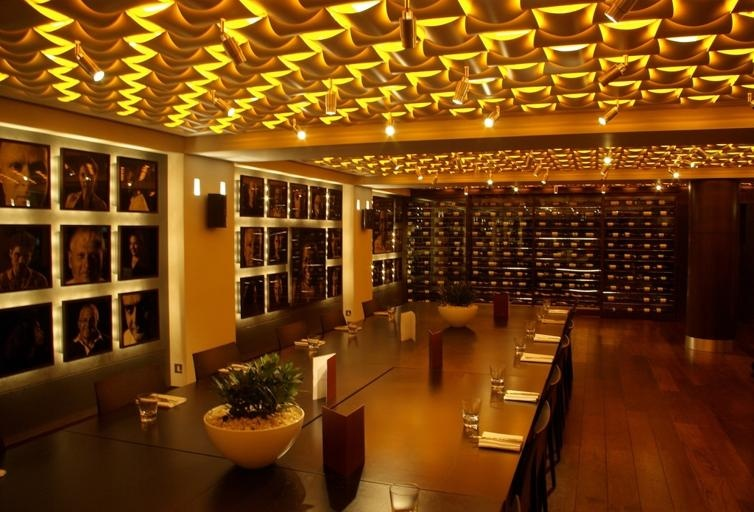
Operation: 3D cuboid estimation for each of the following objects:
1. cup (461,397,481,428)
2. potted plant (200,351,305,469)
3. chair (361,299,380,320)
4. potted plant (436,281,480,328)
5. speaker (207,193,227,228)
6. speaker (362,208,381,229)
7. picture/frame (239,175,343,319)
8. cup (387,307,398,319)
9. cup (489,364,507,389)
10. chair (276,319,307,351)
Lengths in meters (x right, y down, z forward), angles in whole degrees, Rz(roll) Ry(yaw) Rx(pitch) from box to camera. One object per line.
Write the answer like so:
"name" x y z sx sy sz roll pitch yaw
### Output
"cup" 0.700 1.175 3.975 0.185 0.214 0.192 1 -5 0
"potted plant" -0.775 1.029 3.754 0.699 0.780 0.694 0 -6 -5
"chair" -0.108 0.829 7.981 0.225 0.399 0.230 -1 0 -45
"potted plant" 1.162 0.664 7.140 0.561 0.656 0.555 0 -4 -4
"speaker" -2.238 -0.610 7.341 0.253 0.464 0.163 -2 8 -26
"speaker" -0.147 -0.813 11.717 0.175 0.482 0.561 0 1 21
"picture/frame" -1.607 -0.161 9.370 0.089 1.999 2.779 0 1 25
"cup" 0.228 0.822 7.508 0.145 0.169 0.148 0 -3 0
"cup" 1.056 1.060 4.615 0.168 0.271 0.172 1 -6 0
"chair" -0.987 0.938 6.327 0.277 0.505 0.287 3 2 35
